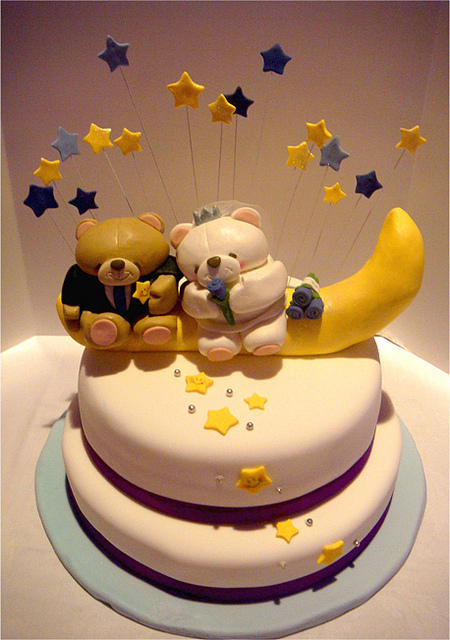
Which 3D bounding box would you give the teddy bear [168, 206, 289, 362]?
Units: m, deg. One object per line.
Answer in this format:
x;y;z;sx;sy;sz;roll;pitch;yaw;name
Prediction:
0.045;-0.206;3.076;0.650;0.830;0.521;-7;14;9;teddy bear

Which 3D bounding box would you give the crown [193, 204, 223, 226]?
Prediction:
-0.105;-0.586;3.085;0.107;0.071;0.133;-26;7;2;crown
